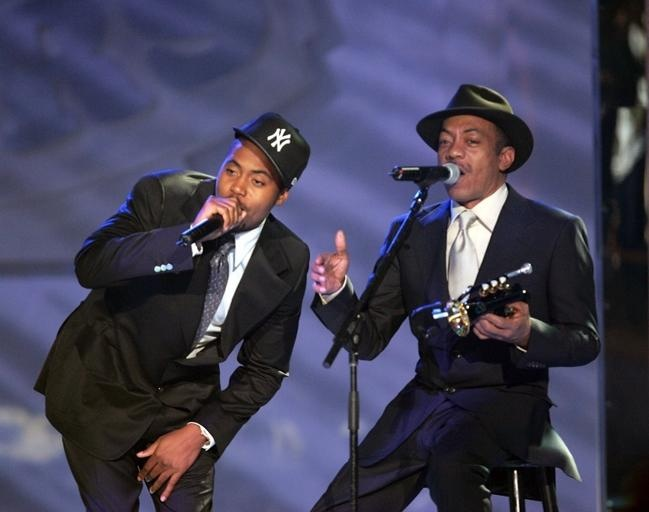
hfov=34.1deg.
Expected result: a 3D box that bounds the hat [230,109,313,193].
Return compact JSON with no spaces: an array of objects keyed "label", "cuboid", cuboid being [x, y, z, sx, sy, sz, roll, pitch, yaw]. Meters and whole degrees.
[{"label":"hat","cuboid":[-0.220,-0.436,4.499,0.255,0.196,0.352,49,0,15]}]

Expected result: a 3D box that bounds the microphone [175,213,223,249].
[{"label":"microphone","cuboid":[-0.460,-0.097,4.052,0.071,0.061,0.256,6,22,36]}]
